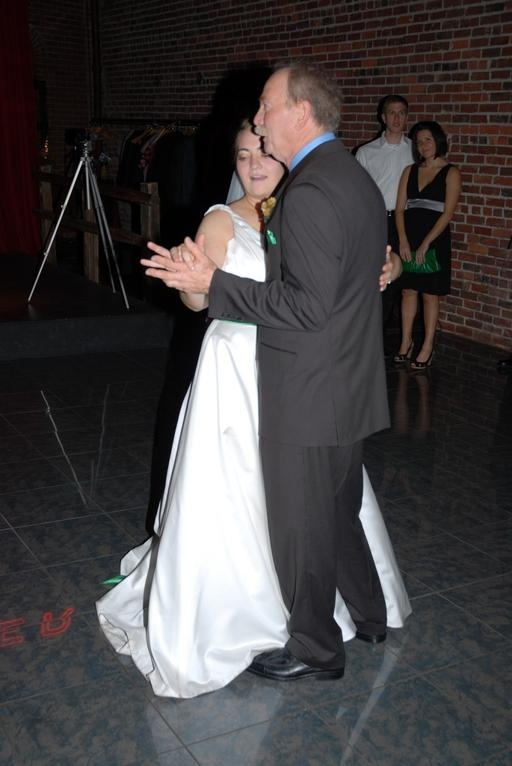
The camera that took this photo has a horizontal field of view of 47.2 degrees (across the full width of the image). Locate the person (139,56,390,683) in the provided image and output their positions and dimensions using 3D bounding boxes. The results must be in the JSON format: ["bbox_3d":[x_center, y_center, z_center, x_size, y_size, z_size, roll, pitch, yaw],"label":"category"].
[{"bbox_3d":[0.081,0.061,1.354,0.399,1.405,0.659,4,7,25],"label":"person"}]

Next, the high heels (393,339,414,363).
[{"bbox_3d":[1.239,-0.238,4.789,0.093,0.164,0.296,1,11,37],"label":"high heels"}]

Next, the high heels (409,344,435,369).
[{"bbox_3d":[1.297,-0.203,4.570,0.090,0.152,0.317,4,15,25],"label":"high heels"}]

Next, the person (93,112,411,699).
[{"bbox_3d":[-0.029,0.029,1.632,0.889,1.428,0.708,1,1,9],"label":"person"}]
